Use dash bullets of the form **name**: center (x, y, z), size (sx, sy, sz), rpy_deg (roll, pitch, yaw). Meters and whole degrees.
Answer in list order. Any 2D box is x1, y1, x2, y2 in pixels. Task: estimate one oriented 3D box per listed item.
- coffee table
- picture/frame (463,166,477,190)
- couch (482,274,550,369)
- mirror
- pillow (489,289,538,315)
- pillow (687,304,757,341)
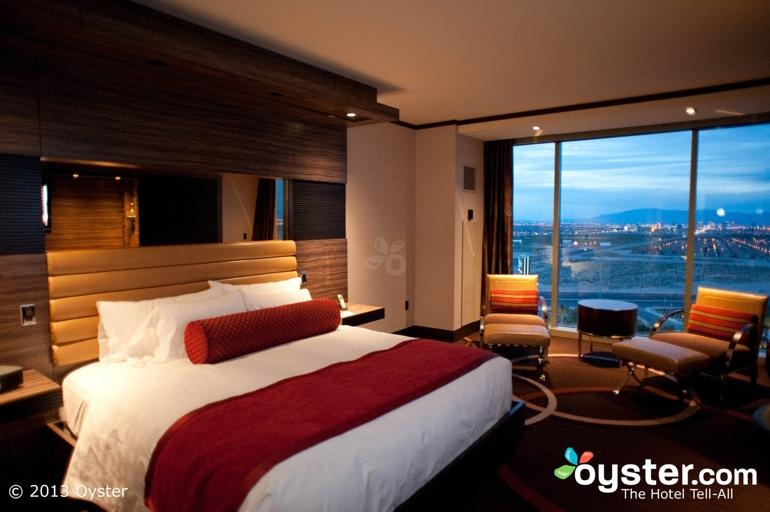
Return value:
- **coffee table**: center (2.753, 0.997, 6.455), size (0.838, 0.884, 0.849), rpy_deg (0, 0, 16)
- **picture/frame**: center (1.276, -1.185, 7.396), size (0.015, 0.265, 0.392), rpy_deg (4, 8, 30)
- **couch**: center (1.735, 0.825, 6.581), size (0.866, 0.874, 1.455), rpy_deg (1, 9, 14)
- **mirror**: center (-1.478, -0.483, 4.964), size (2.341, 0.743, 0.047), rpy_deg (1, 1, 12)
- **pillow**: center (1.791, 0.632, 6.788), size (0.501, 0.158, 0.368), rpy_deg (2, 7, 15)
- **pillow**: center (3.891, 0.764, 5.564), size (0.046, 0.255, 0.433), rpy_deg (22, -8, -25)
